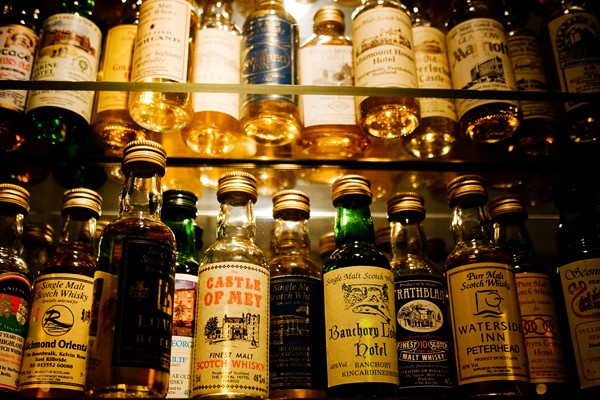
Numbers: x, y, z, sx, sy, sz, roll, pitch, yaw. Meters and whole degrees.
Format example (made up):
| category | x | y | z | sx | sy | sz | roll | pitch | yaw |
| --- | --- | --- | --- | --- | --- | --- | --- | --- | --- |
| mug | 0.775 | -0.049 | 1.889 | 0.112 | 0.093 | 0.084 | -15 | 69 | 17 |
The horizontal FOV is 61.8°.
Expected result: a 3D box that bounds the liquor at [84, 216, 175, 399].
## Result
| category | x | y | z | sx | sy | sz | roll | pitch | yaw |
| --- | --- | --- | --- | --- | --- | --- | --- | --- | --- |
| liquor | -0.287 | 0.177 | 0.870 | 0.137 | 0.302 | 0.062 | 7 | -26 | -18 |
